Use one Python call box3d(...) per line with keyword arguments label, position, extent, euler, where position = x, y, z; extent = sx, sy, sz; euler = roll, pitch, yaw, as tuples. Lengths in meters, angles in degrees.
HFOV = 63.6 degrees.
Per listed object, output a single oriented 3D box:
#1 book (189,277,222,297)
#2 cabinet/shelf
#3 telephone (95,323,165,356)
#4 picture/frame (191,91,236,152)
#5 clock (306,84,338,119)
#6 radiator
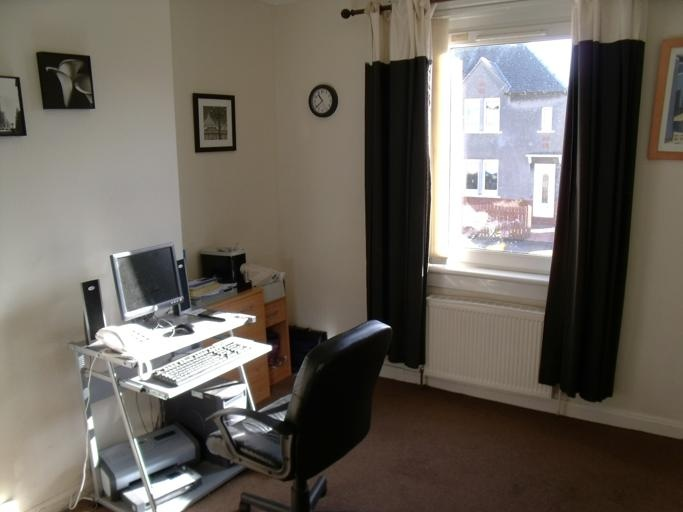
box3d(label="book", position=(-1.021, 0.229, 4.089), extent=(0.269, 0.093, 0.144), euler=(-16, 19, -41))
box3d(label="cabinet/shelf", position=(-0.701, 0.630, 3.982), extent=(0.282, 0.827, 0.787), euler=(2, 10, 17))
box3d(label="telephone", position=(-1.242, 0.522, 3.255), extent=(0.264, 0.121, 0.374), euler=(-2, 2, 12))
box3d(label="picture/frame", position=(-1.030, -1.075, 4.359), extent=(0.021, 0.513, 0.420), euler=(5, 12, 30))
box3d(label="clock", position=(-0.150, -1.310, 4.631), extent=(0.272, 0.265, 0.056), euler=(5, 15, 29))
box3d(label="radiator", position=(1.151, 0.672, 4.153), extent=(0.674, 0.570, 0.107), euler=(7, 16, 25))
